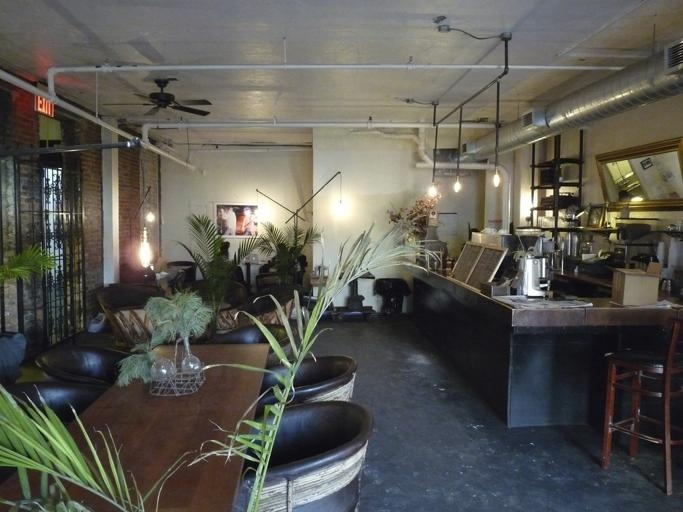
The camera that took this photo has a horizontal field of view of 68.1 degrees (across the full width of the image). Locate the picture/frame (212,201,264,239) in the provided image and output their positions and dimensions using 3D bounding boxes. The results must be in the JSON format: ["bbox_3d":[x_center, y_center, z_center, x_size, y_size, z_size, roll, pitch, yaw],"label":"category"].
[{"bbox_3d":[-2.722,-0.953,13.114,1.322,0.938,0.064,3,4,25],"label":"picture/frame"}]

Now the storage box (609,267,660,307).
[{"bbox_3d":[2.941,0.355,5.122,0.304,0.365,0.527,-8,-4,42],"label":"storage box"}]

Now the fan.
[{"bbox_3d":[-2.327,-2.105,6.578,1.057,0.345,0.905,0,5,7],"label":"fan"}]

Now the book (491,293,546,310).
[{"bbox_3d":[1.827,0.459,5.204,0.500,0.041,0.682,2,10,14],"label":"book"}]
